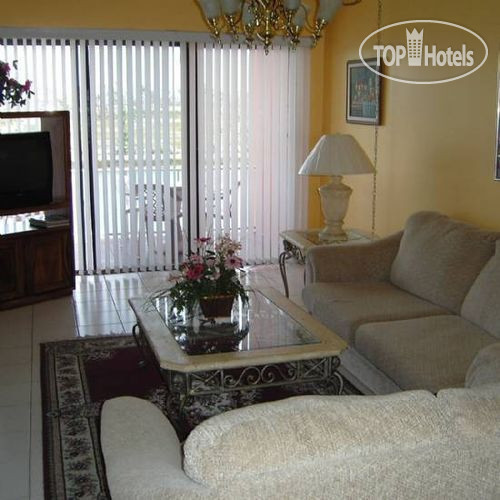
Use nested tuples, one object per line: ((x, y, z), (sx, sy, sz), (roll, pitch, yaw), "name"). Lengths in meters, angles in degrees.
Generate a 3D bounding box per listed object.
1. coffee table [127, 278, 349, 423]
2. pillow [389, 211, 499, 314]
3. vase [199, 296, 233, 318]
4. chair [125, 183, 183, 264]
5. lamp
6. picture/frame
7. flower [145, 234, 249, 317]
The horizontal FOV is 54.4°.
((-0.027, 0.536, 2.490), (0.711, 0.290, 1.048), (-5, 16, -20), "coffee table")
((1.257, 0.074, 3.179), (0.166, 0.583, 0.583), (14, 12, -30), "pillow")
((-0.209, 0.295, 2.782), (0.128, 0.087, 0.166), (1, 4, 29), "vase")
((-1.153, -0.327, 5.668), (0.624, 1.223, 0.663), (2, 16, 5), "chair")
((0.756, -0.556, 4.267), (0.603, 0.932, 0.613), (-6, 10, -24), "lamp")
((1.184, -1.641, 4.991), (0.072, 0.791, 0.721), (-3, 8, -20), "picture/frame")
((-0.322, 0.135, 2.898), (0.495, 0.594, 0.428), (-1, 14, -8), "flower")
